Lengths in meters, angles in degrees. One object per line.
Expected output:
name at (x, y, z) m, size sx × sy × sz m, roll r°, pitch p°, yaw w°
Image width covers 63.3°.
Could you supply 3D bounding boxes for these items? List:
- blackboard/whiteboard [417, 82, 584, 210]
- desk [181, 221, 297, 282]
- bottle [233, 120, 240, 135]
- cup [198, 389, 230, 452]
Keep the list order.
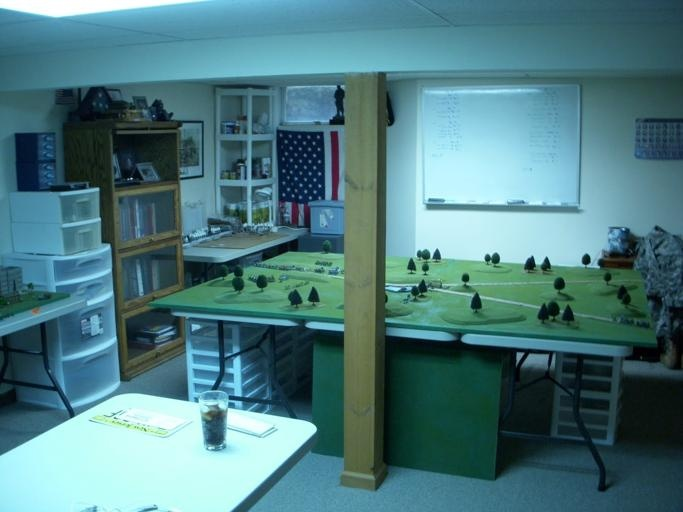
blackboard/whiteboard at (2.044, -1.406, 6.852) m, size 1.409 × 1.160 × 0.053 m, roll 1°, pitch 7°, yaw 13°
desk at (-1.292, 0.017, 6.797) m, size 0.863 × 0.492 × 1.754 m, roll 6°, pitch 14°, yaw 23°
bottle at (-1.353, -1.686, 7.242) m, size 0.087 × 0.171 × 0.198 m, roll -2°, pitch 12°, yaw -12°
cup at (-0.538, 0.728, 2.397) m, size 0.156 × 0.217 × 0.165 m, roll -5°, pitch -5°, yaw 0°
